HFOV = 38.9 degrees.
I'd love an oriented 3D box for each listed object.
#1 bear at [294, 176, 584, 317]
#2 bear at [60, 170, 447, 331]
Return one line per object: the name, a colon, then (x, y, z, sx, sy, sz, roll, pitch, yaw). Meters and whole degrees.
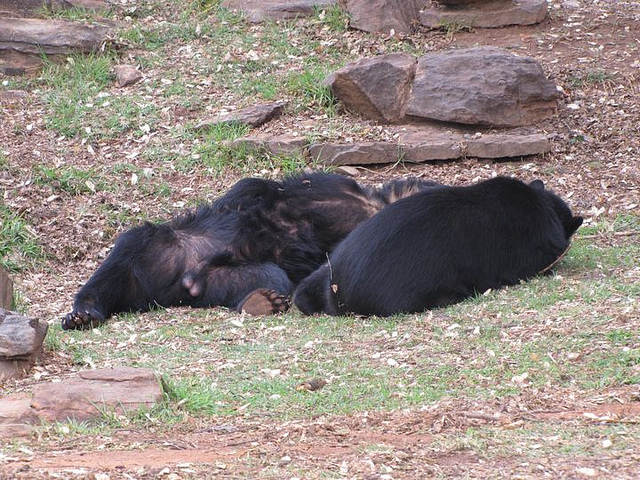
bear: (1.073, 0.021, 8.263, 2.549, 0.933, 1.101, -14, 13, 2)
bear: (-0.727, 0.035, 8.798, 3.101, 0.688, 1.741, -6, 4, -19)
